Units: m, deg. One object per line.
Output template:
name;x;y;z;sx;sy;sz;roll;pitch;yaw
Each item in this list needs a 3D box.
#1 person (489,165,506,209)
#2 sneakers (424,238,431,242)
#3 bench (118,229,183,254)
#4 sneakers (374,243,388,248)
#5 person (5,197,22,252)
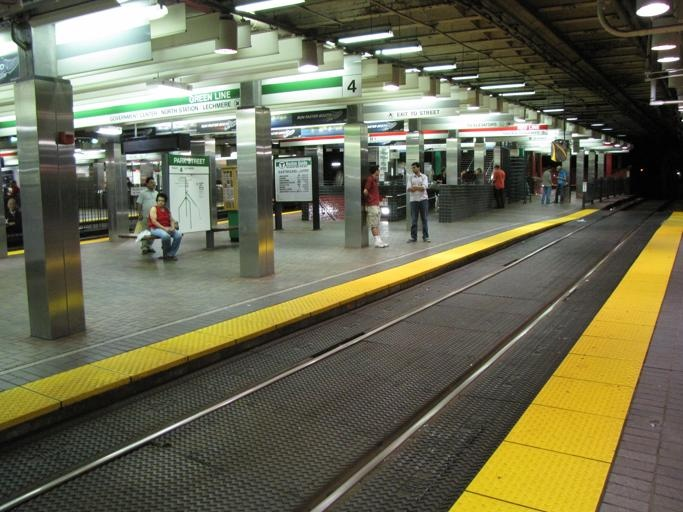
person;7.979;-3.463;24.456;0.576;2.133;1.182;-1;11;16
sneakers;2.343;-0.416;13.246;0.216;0.081;0.099;-1;5;37
bench;-4.510;-0.359;11.788;1.494;0.651;0.767;6;14;43
sneakers;1.047;-0.258;12.421;0.310;0.186;0.109;-3;10;-2
person;-10.022;-0.981;14.646;0.467;1.470;1.331;-11;13;-31
